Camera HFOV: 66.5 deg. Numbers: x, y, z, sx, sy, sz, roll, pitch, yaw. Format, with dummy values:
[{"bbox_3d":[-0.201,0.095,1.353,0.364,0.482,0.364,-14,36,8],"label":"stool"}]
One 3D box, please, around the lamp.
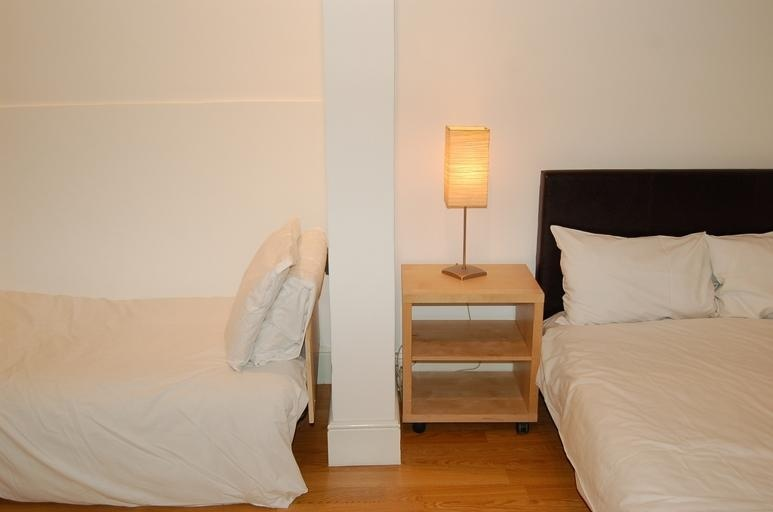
[{"bbox_3d":[0.438,-0.297,3.205,0.260,0.819,0.316,0,11,15],"label":"lamp"}]
